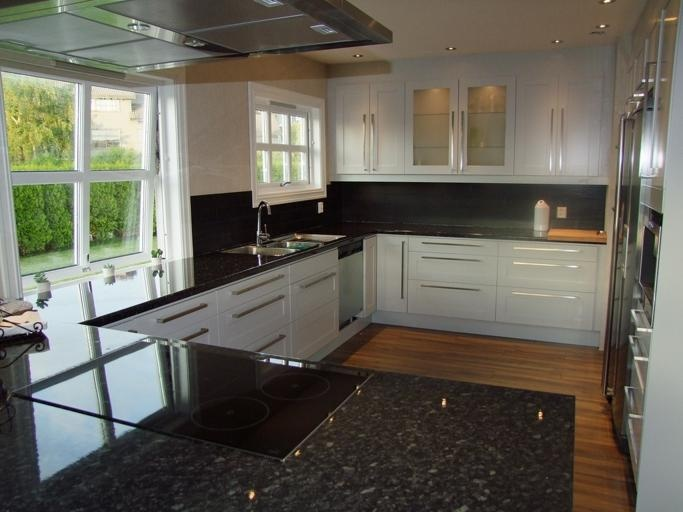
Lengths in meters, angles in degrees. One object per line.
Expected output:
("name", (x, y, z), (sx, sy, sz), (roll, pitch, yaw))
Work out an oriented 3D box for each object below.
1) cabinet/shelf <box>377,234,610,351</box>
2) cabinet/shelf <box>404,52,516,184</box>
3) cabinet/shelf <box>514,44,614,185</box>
("cabinet/shelf", (1.385, 0.220, 4.792), (2.062, 0.829, 0.399), (8, 15, 29))
("cabinet/shelf", (1.285, -1.348, 5.141), (1.192, 0.970, 0.453), (9, 22, 35))
("cabinet/shelf", (2.013, -1.253, 4.857), (0.890, 1.076, 0.441), (-3, 10, -6))
